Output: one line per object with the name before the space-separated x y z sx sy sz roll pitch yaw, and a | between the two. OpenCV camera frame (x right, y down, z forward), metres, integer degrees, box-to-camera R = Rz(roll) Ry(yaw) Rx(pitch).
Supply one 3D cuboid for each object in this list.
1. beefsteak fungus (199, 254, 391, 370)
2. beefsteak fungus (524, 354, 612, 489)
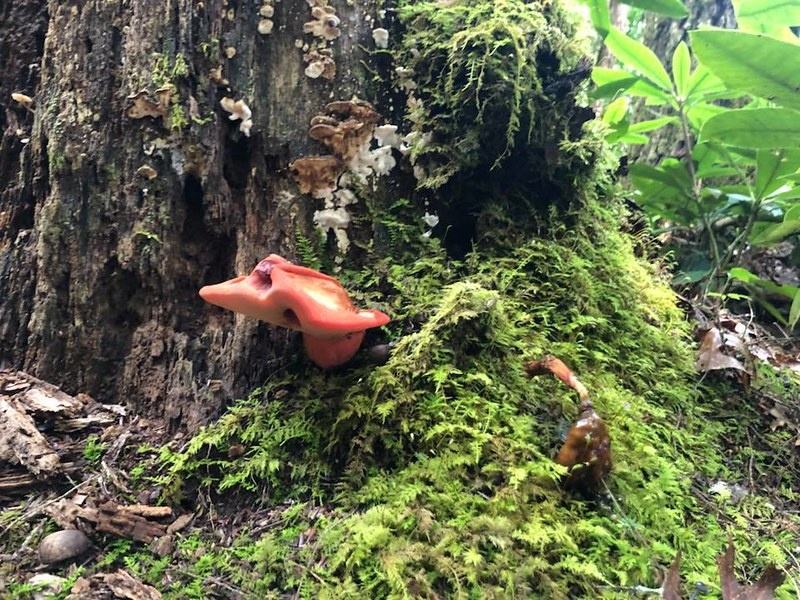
beefsteak fungus | -0.665 0.093 4.146 0.978 0.471 0.734 -4 8 -27
beefsteak fungus | 0.995 0.736 3.961 0.324 0.710 0.512 1 9 -40
